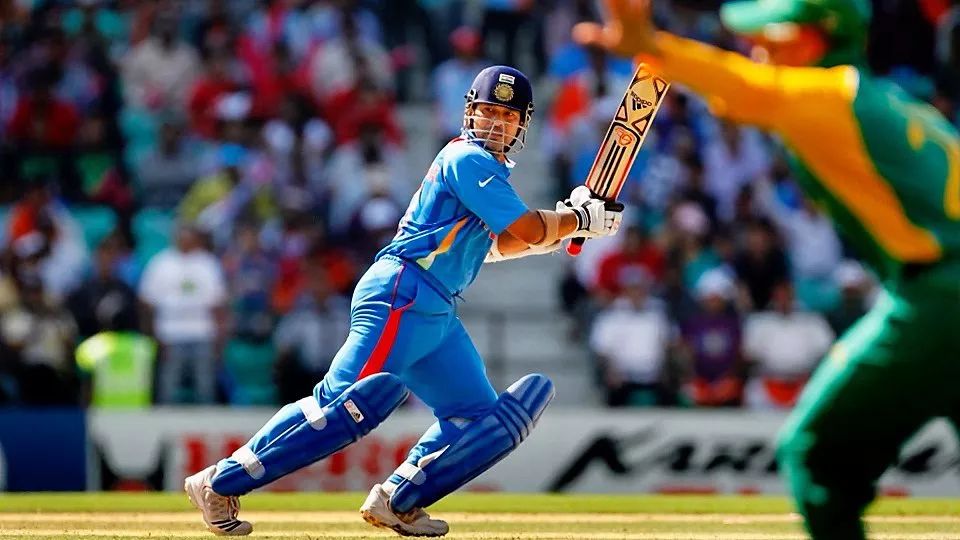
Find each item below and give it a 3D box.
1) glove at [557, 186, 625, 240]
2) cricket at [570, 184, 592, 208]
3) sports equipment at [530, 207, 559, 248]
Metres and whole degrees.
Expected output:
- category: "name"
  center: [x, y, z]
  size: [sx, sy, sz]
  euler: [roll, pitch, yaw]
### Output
- category: "glove"
  center: [1.006, -0.432, 13.911]
  size: [0.653, 0.267, 0.602]
  euler: [-8, -15, 7]
- category: "cricket"
  center: [0.936, -0.691, 13.827]
  size: [0.165, 0.216, 0.080]
  euler: [27, -3, 14]
- category: "sports equipment"
  center: [0.613, -0.400, 13.591]
  size: [0.263, 0.301, 0.238]
  euler: [2, 2, 39]
